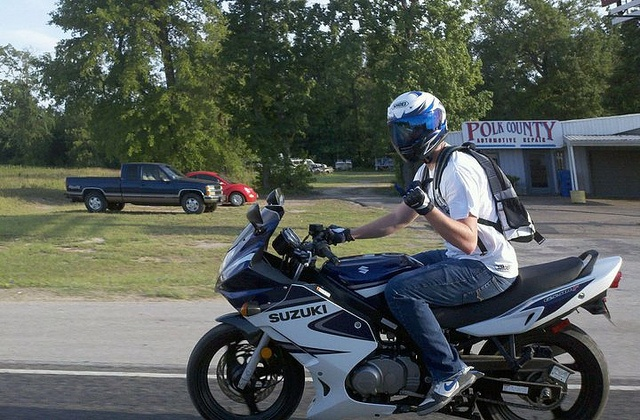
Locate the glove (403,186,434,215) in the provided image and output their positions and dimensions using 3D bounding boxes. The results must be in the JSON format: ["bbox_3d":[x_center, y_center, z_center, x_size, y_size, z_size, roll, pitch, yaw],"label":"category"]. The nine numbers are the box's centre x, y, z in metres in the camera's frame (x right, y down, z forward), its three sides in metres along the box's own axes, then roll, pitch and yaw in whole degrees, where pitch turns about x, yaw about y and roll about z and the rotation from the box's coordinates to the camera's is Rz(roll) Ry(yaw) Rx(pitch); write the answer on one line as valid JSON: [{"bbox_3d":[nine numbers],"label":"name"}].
[{"bbox_3d":[1.315,-0.127,9.528,0.439,0.189,0.311,34,-5,-37],"label":"glove"}]

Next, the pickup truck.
[{"bbox_3d":[-6.863,-0.886,29.692,5.220,1.520,2.445,-1,1,2],"label":"pickup truck"}]

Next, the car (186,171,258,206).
[{"bbox_3d":[-4.587,-1.014,33.868,3.449,1.287,1.723,-1,5,0],"label":"car"}]

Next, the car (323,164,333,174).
[{"bbox_3d":[1.227,-5.385,94.620,1.148,0.567,1.879,-4,-8,18],"label":"car"}]

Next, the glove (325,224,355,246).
[{"bbox_3d":[0.297,0.327,10.098,0.345,0.140,0.244,4,8,4],"label":"glove"}]
